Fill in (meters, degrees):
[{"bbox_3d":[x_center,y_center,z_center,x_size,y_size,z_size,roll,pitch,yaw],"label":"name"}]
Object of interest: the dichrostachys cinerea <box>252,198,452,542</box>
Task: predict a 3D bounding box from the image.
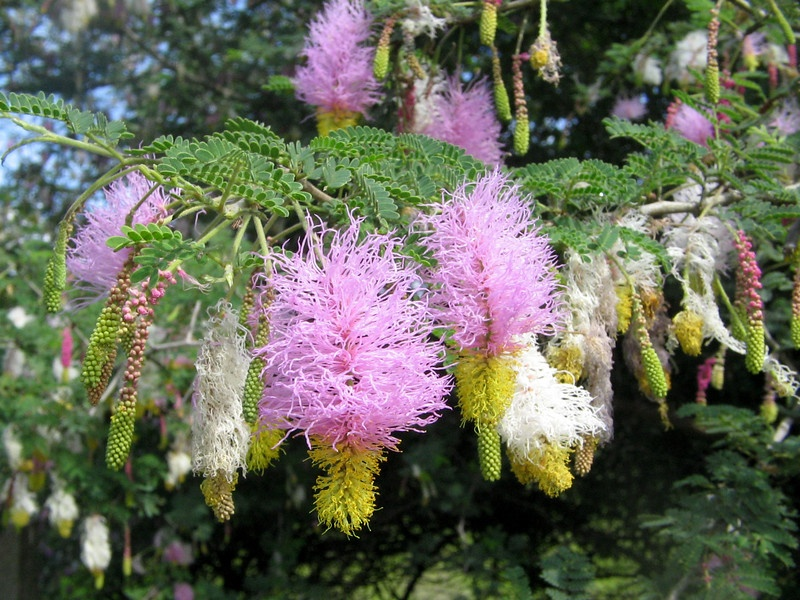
[{"bbox_3d":[-0.205,0.340,3.451,0.704,1.188,0.748,-1,-1,45],"label":"dichrostachys cinerea"}]
